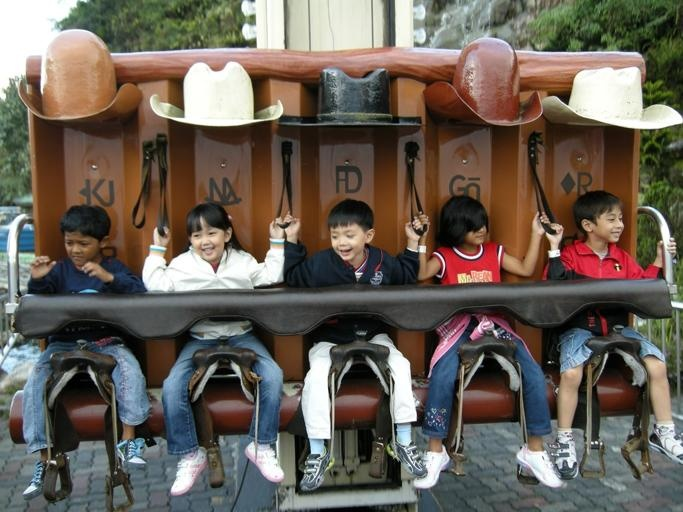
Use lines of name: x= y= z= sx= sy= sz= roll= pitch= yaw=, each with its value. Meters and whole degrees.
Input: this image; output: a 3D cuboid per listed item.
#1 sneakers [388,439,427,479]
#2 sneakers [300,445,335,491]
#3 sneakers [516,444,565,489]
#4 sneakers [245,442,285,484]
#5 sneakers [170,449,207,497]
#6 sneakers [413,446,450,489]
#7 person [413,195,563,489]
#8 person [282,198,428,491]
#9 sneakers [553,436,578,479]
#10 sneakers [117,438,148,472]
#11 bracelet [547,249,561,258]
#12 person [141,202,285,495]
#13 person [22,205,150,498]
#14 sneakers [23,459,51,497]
sneakers: x=0.407 y=1.226 z=4.566 sx=0.262 sy=0.242 sz=0.159 roll=2 pitch=9 yaw=15
sneakers: x=-0.144 y=1.259 z=4.507 sx=0.110 sy=0.159 sz=0.358 roll=1 pitch=43 yaw=27
sneakers: x=1.246 y=1.294 z=4.608 sx=0.129 sy=0.173 sz=0.356 roll=7 pitch=8 yaw=-35
sneakers: x=-0.463 y=1.248 z=4.544 sx=0.208 sy=0.284 sz=0.194 roll=-2 pitch=9 yaw=-9
sneakers: x=-0.926 y=1.286 z=4.518 sx=0.101 sy=0.171 sz=0.334 roll=-21 pitch=12 yaw=30
sneakers: x=0.556 y=1.279 z=4.574 sx=0.129 sy=0.172 sz=0.352 roll=-1 pitch=18 yaw=42
person: x=0.756 y=0.426 z=5.132 sx=0.788 sy=2.189 sz=1.233 roll=1 pitch=-20 yaw=-2
person: x=0.066 y=0.466 z=4.600 sx=0.945 sy=1.745 sz=1.076 roll=-4 pitch=-8 yaw=18
sneakers: x=1.433 y=1.232 z=4.709 sx=0.114 sy=0.166 sz=0.368 roll=-6 pitch=37 yaw=26
sneakers: x=-1.265 y=1.181 z=4.515 sx=0.166 sy=0.197 sz=0.209 roll=-4 pitch=10 yaw=-16
bracelet: x=1.417 y=-0.018 z=4.943 sx=0.052 sy=0.045 sz=0.056 roll=2 pitch=9 yaw=14
person: x=-0.783 y=0.530 z=4.689 sx=0.906 sy=1.664 sz=0.750 roll=-2 pitch=9 yaw=-6
person: x=-1.595 y=0.552 z=4.648 sx=0.760 sy=1.672 sz=0.835 roll=-4 pitch=9 yaw=-17
sneakers: x=-1.844 y=1.335 z=4.529 sx=0.084 sy=0.158 sz=0.266 roll=-3 pitch=5 yaw=2
